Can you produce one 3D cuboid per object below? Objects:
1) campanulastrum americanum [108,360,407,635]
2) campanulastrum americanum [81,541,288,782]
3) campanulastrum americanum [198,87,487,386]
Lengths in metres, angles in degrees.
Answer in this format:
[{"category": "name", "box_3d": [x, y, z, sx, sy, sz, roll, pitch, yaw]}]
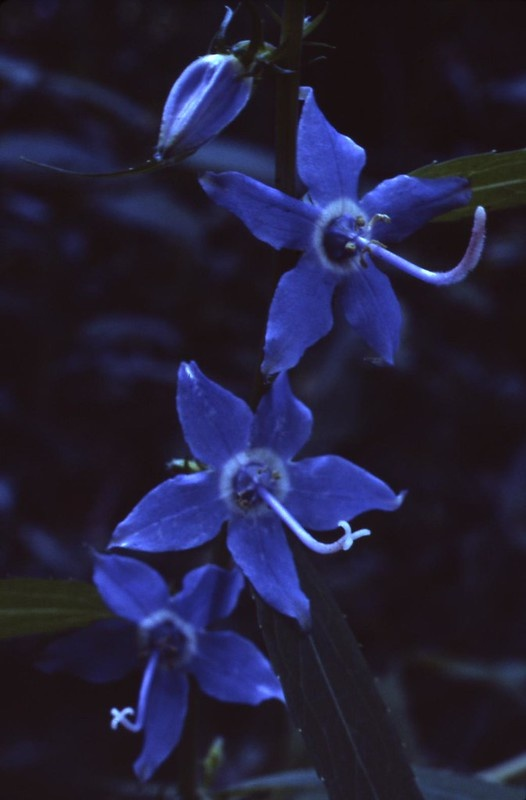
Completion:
[{"category": "campanulastrum americanum", "box_3d": [0.006, 0.052, 0.421, 0.139, 0.111, 0.075, 21, -48, -33]}, {"category": "campanulastrum americanum", "box_3d": [-0.055, 0.140, 0.487, 0.121, 0.045, 0.113, 22, -68, -9]}, {"category": "campanulastrum americanum", "box_3d": [0.022, -0.103, 0.440, 0.167, 0.055, 0.132, -8, -8, -9]}]
